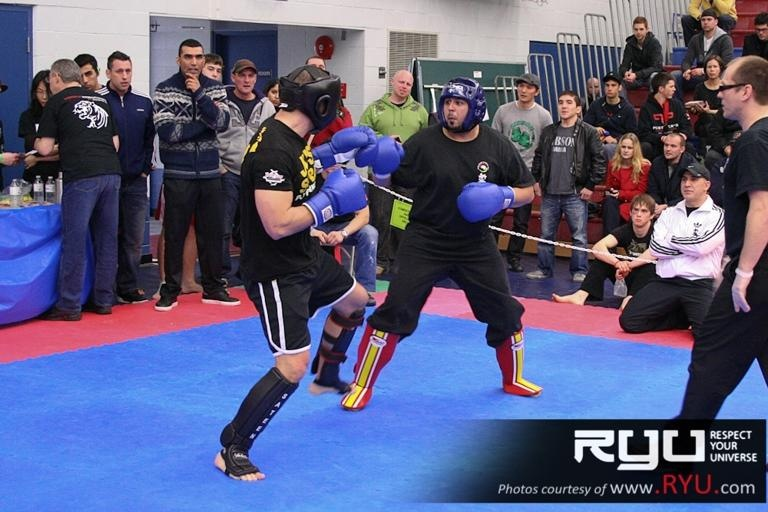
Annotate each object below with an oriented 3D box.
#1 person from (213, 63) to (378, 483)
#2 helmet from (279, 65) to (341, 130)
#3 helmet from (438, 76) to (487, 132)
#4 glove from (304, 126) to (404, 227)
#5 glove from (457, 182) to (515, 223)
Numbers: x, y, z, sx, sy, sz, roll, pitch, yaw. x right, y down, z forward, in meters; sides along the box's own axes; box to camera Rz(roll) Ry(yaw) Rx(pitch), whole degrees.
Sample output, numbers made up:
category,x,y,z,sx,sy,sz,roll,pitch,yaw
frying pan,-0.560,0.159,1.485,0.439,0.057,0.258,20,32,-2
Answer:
category,x,y,z,sx,sy,sz,roll,pitch,yaw
person,-0.515,0.054,3.789,0.614,2.316,1.038,8,14,28
helmet,-0.370,-0.913,3.677,0.377,0.333,0.330,-20,30,-39
helmet,0.508,-1.050,4.477,0.323,0.398,0.387,2,4,39
glove,-0.241,-0.504,3.988,0.448,0.708,0.334,29,-24,-29
glove,0.677,-0.370,4.324,0.376,0.215,0.143,-17,-7,-36
